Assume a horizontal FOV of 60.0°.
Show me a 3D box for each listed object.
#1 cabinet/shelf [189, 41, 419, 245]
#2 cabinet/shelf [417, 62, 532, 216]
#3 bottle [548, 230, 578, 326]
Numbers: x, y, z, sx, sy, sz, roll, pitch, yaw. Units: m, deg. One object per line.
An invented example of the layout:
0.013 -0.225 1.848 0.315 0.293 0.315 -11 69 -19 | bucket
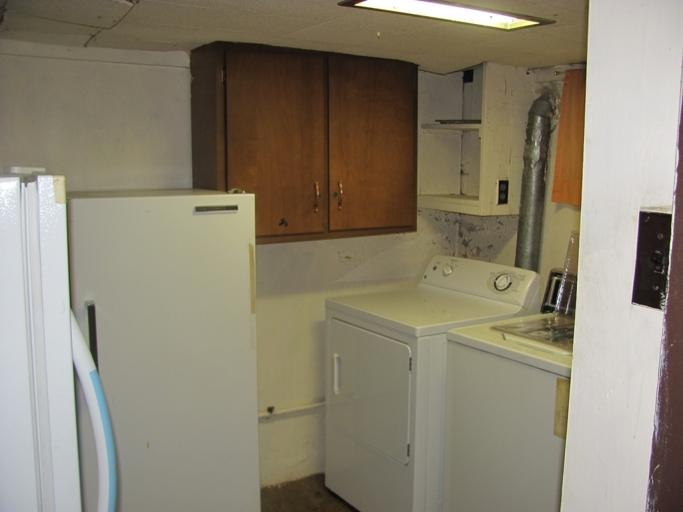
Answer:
-0.136 -0.530 3.114 1.067 0.929 0.408 -3 6 -26 | cabinet/shelf
0.792 -0.709 3.485 0.231 0.735 0.729 -2 11 -18 | cabinet/shelf
1.138 0.099 2.992 0.100 0.436 0.499 3 9 21 | bottle
